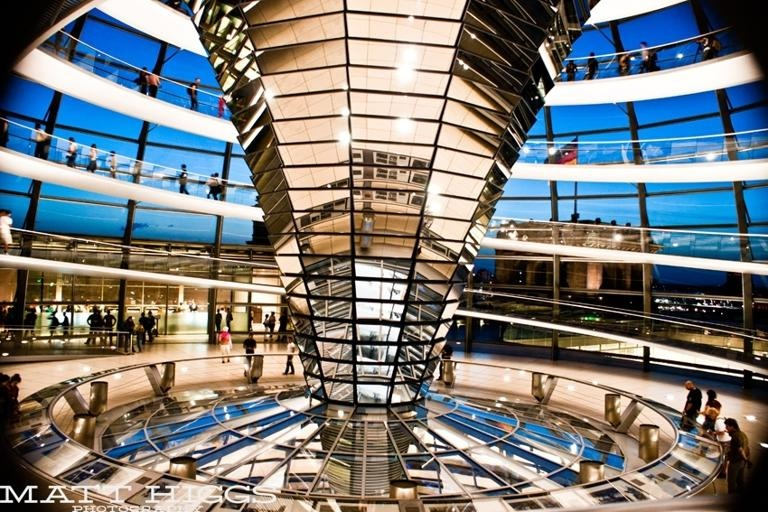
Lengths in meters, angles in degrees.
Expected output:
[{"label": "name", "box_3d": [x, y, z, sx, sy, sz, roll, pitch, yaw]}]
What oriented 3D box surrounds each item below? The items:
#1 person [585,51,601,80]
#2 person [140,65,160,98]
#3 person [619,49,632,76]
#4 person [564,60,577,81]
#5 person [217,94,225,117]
[{"label": "person", "box_3d": [10.264, -9.235, 23.324, 0.648, 1.056, 0.429, 7, 4, 38]}, {"label": "person", "box_3d": [-11.001, -7.955, 22.004, 0.908, 1.192, 0.624, 3, 4, -27]}, {"label": "person", "box_3d": [11.455, -9.106, 22.500, 0.785, 0.967, 0.359, 1, -7, 42]}, {"label": "person", "box_3d": [9.375, -9.304, 23.783, 0.702, 0.788, 0.284, 3, 4, -22]}, {"label": "person", "box_3d": [-8.364, -7.585, 24.262, 0.355, 1.086, 0.635, 3, 3, -28]}]
